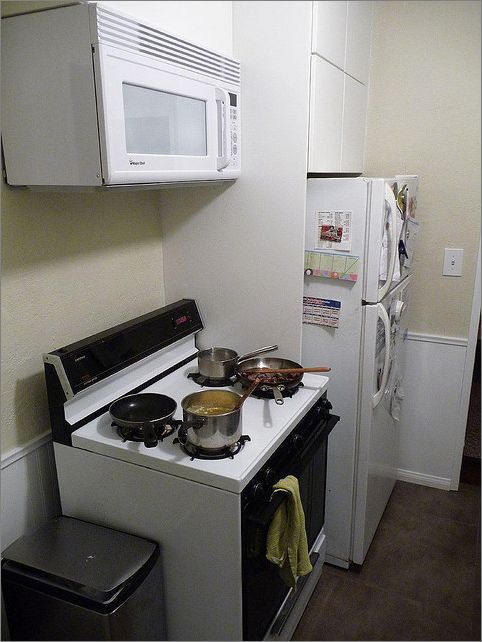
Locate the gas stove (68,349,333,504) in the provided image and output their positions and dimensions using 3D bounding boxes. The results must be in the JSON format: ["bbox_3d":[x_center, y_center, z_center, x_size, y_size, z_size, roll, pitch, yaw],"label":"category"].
[{"bbox_3d":[-0.070,0.258,1.371,0.519,0.050,0.712,4,13,26],"label":"gas stove"}]

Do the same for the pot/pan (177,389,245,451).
[{"bbox_3d":[-0.076,0.228,1.191,0.153,0.108,0.328,-2,12,-1],"label":"pot/pan"}]

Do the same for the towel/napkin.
[{"bbox_3d":[0.117,0.534,1.135,0.106,0.318,0.137,1,9,10],"label":"towel/napkin"}]
